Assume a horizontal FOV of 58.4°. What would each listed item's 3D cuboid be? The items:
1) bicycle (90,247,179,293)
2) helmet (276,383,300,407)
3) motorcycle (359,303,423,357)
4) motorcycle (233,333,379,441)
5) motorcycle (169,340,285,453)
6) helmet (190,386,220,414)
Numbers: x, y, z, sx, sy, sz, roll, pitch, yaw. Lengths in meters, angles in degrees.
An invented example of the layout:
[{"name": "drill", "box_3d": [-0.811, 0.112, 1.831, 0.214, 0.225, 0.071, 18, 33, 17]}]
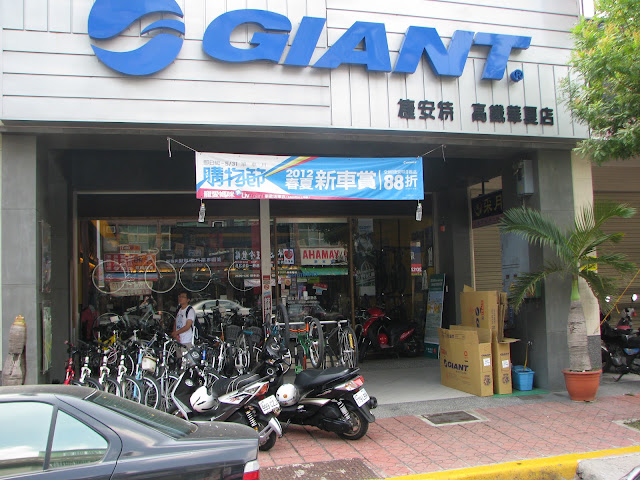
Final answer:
[{"name": "bicycle", "box_3d": [-3.857, 0.720, 12.006, 1.465, 0.743, 0.809, 4, -1, -10]}, {"name": "helmet", "box_3d": [-0.408, 1.999, 7.407, 0.231, 0.258, 0.298, 4, -12, 5]}, {"name": "motorcycle", "box_3d": [1.358, 2.073, 12.664, 1.576, 0.997, 0.771, 8, -19, -22]}, {"name": "motorcycle", "box_3d": [-0.210, 2.069, 7.881, 2.007, 1.197, 0.796, -6, -3, 32]}, {"name": "motorcycle", "box_3d": [-1.384, 2.088, 7.507, 1.835, 1.291, 0.793, -2, 8, 25]}, {"name": "helmet", "box_3d": [-1.467, 2.021, 7.249, 0.335, 0.239, 0.110, -24, -16, -40]}]
